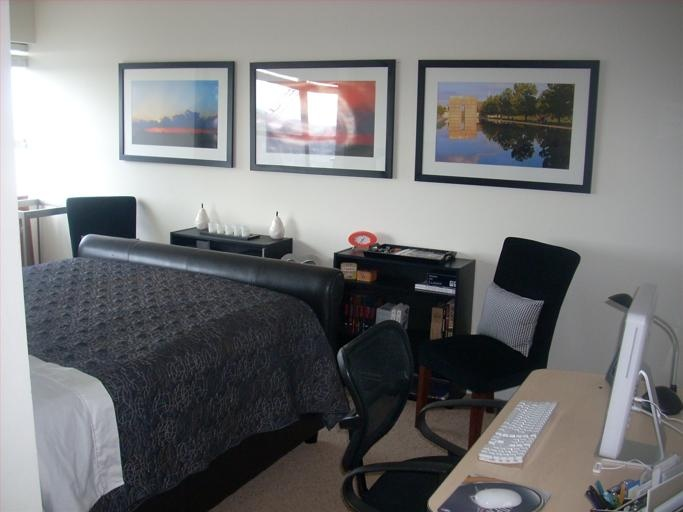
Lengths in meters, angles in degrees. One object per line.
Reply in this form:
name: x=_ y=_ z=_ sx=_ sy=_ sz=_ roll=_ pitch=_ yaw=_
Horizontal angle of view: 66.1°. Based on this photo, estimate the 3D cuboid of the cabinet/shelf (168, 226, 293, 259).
cabinet/shelf: x=-1.018 y=-0.126 z=4.875 sx=1.111 sy=0.169 sz=0.389 roll=7 pitch=14 yaw=23

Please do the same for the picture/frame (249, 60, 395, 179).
picture/frame: x=-0.118 y=-1.192 z=4.498 sx=1.001 sy=0.775 sz=0.026 roll=6 pitch=14 yaw=27

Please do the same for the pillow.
pillow: x=1.174 y=0.442 z=3.607 sx=0.149 sy=0.336 sz=0.394 roll=-4 pitch=19 yaw=-34

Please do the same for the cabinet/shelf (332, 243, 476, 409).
cabinet/shelf: x=0.464 y=0.446 z=3.515 sx=1.086 sy=1.279 sz=0.403 roll=6 pitch=10 yaw=32

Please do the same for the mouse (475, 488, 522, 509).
mouse: x=0.513 y=0.787 z=1.715 sx=0.101 sy=0.030 sz=0.070 roll=3 pitch=17 yaw=13
